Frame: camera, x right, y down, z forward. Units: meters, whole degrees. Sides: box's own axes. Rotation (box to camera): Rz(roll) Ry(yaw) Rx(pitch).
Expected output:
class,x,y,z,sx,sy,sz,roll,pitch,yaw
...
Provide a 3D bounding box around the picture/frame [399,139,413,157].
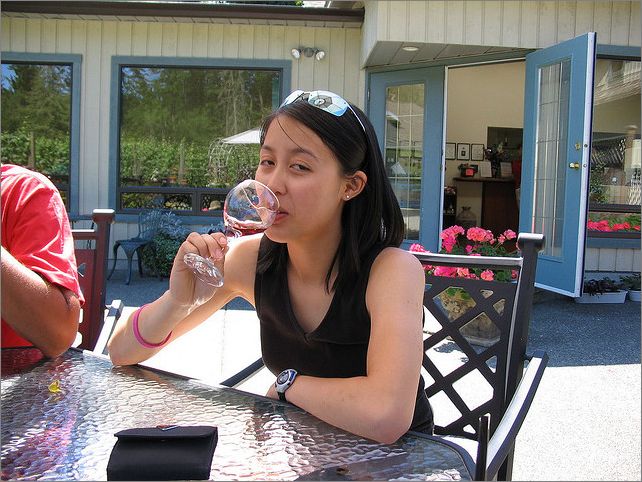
class,x,y,z,sx,sy,sz,roll,pitch,yaw
picture/frame,1.156,-1.273,6.457,0.202,0.259,0.031,5,5,44

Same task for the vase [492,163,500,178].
class,x,y,z,sx,sy,sz,roll,pitch,yaw
vase,4.106,-1.678,11.234,0.177,0.305,0.073,5,6,9

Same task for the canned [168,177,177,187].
class,x,y,z,sx,sy,sz,roll,pitch,yaw
canned,-2.311,-0.933,7.494,0.127,0.140,0.131,1,-2,-15

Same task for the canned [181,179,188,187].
class,x,y,z,sx,sy,sz,roll,pitch,yaw
canned,-2.117,-0.927,7.493,0.099,0.136,0.100,2,-10,-29

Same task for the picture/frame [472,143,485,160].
class,x,y,z,sx,sy,sz,roll,pitch,yaw
picture/frame,3.785,-2.157,11.591,0.373,0.543,0.037,1,0,3

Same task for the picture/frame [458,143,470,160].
class,x,y,z,sx,sy,sz,roll,pitch,yaw
picture/frame,3.441,-2.172,11.565,0.337,0.441,0.057,2,-10,-1

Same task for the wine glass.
class,x,y,z,sx,sy,sz,roll,pitch,yaw
wine glass,-0.256,-0.007,1.294,0.213,0.329,0.267,1,7,-25

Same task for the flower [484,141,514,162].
class,x,y,z,sx,sy,sz,roll,pitch,yaw
flower,4.331,-2.160,11.569,0.503,0.254,0.677,12,31,15

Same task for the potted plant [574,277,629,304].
class,x,y,z,sx,sy,sz,roll,pitch,yaw
potted plant,3.356,0.609,5.748,0.504,0.247,0.364,-1,6,4

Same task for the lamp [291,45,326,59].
class,x,y,z,sx,sy,sz,roll,pitch,yaw
lamp,-0.179,-2.703,6.799,0.495,0.174,0.160,4,7,-1

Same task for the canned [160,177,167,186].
class,x,y,z,sx,sy,sz,roll,pitch,yaw
canned,-2.441,-0.938,7.484,0.112,0.097,0.120,1,-2,5
